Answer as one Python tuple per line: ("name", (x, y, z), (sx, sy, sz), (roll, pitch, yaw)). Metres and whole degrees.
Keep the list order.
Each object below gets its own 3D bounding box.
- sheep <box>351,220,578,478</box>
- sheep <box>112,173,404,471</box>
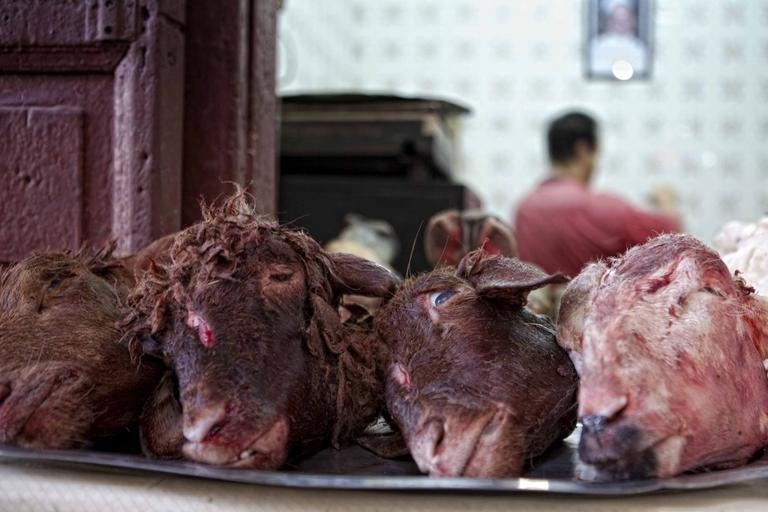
("sheep", (0.230, 0.382, 2.582), (0.537, 0.634, 0.733), (15, -24, -37))
("sheep", (-0.327, 0.227, 2.358), (0.617, 0.777, 0.363), (2, -34, -24))
